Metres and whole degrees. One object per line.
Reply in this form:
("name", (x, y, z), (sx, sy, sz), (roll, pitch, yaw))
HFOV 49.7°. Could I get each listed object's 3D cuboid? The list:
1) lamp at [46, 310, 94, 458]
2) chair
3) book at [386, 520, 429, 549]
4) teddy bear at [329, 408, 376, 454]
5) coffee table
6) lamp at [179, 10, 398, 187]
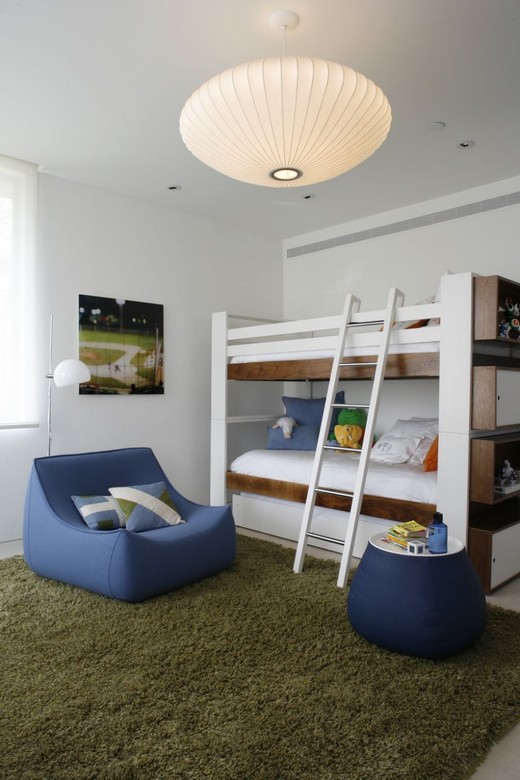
("lamp", (-1.311, -0.034, 3.802), (0.245, 0.988, 0.624), (1, -1, -23))
("chair", (-0.740, 0.725, 2.959), (0.781, 0.576, 0.802), (-4, -4, 36))
("book", (0.581, 0.576, 2.253), (0.101, 0.041, 0.106), (-1, 4, -34))
("teddy bear", (0.685, 0.303, 4.169), (0.242, 0.387, 0.149), (-6, -34, 37))
("coffee table", (0.588, 0.731, 2.177), (0.393, 0.276, 0.409), (0, 0, 40))
("lamp", (0.100, -1.058, 2.223), (0.817, 0.249, 0.647), (0, -1, -8))
